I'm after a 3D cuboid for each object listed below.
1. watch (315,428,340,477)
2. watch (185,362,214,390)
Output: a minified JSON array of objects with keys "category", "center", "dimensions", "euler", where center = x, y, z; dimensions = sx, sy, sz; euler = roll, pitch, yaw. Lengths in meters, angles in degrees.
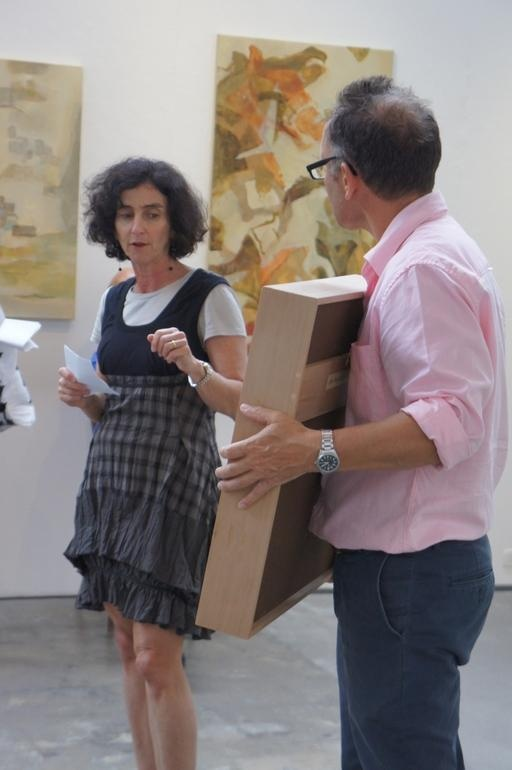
[{"category":"watch","center":[0.126,0.123,1.384],"dimensions":[0.057,0.084,0.070],"euler":[-2,13,-1]},{"category":"watch","center":[-0.135,-0.022,2.078],"dimensions":[0.058,0.077,0.075],"euler":[26,-19,-35]}]
